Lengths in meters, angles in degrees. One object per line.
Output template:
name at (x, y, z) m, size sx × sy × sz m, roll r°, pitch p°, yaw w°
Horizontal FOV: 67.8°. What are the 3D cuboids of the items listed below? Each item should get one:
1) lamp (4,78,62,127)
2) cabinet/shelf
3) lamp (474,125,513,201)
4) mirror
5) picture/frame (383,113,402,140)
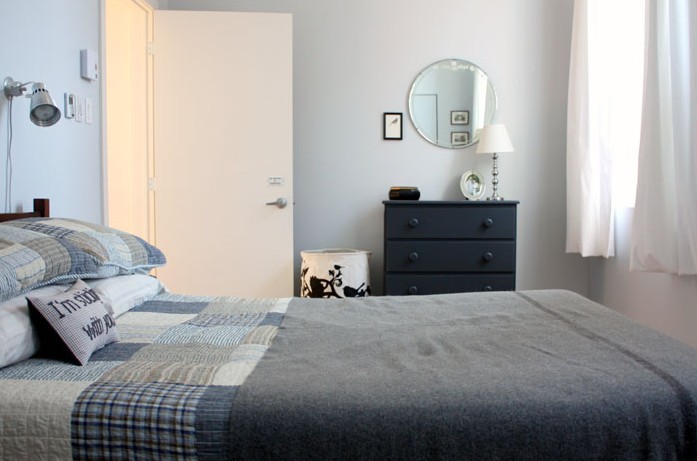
lamp at (-1.636, -0.663, 2.655) m, size 0.198 × 0.112 × 0.309 m, roll -21°, pitch 54°, yaw -14°
cabinet/shelf at (0.748, 0.114, 3.782) m, size 0.680 × 0.625 × 0.266 m, roll 0°, pitch -2°, yaw -1°
lamp at (1.136, -0.551, 4.084) m, size 0.268 × 0.590 × 0.521 m, roll 2°, pitch 10°, yaw 17°
mirror at (0.838, -1.060, 4.220) m, size 0.767 × 0.763 × 0.033 m, roll -1°, pitch 4°, yaw -2°
picture/frame at (0.357, -0.869, 4.230) m, size 0.204 × 0.268 × 0.028 m, roll 0°, pitch 6°, yaw 0°
